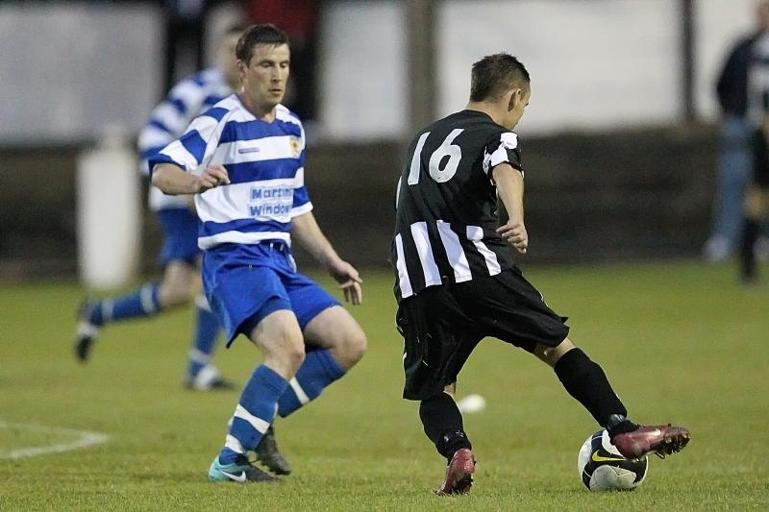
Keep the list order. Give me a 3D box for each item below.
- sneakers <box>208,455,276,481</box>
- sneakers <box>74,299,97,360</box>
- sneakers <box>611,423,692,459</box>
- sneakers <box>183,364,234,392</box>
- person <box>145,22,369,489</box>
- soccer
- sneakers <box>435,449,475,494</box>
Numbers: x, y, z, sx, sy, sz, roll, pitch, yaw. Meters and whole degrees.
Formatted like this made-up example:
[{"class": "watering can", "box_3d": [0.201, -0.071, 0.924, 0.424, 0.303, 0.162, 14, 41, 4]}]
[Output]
[{"class": "sneakers", "box_3d": [-0.962, 1.410, 7.157, 0.477, 0.205, 0.173, 4, 6, -14]}, {"class": "sneakers", "box_3d": [-2.321, 0.583, 8.358, 0.198, 0.496, 0.154, -3, 11, -18]}, {"class": "sneakers", "box_3d": [1.680, 1.159, 6.749, 0.355, 0.177, 0.234, -3, -7, 5]}, {"class": "sneakers", "box_3d": [-1.513, 1.099, 9.695, 0.555, 0.238, 0.191, -1, 2, -2]}, {"class": "person", "box_3d": [-0.805, -0.033, 7.198, 1.308, 2.915, 0.749, -4, 11, -19]}, {"class": "soccer", "box_3d": [1.497, 1.361, 7.059, 0.345, 0.358, 0.377, -22, 23, -30]}, {"class": "sneakers", "box_3d": [0.480, 1.354, 6.852, 0.135, 0.394, 0.193, 28, 8, 5]}]
